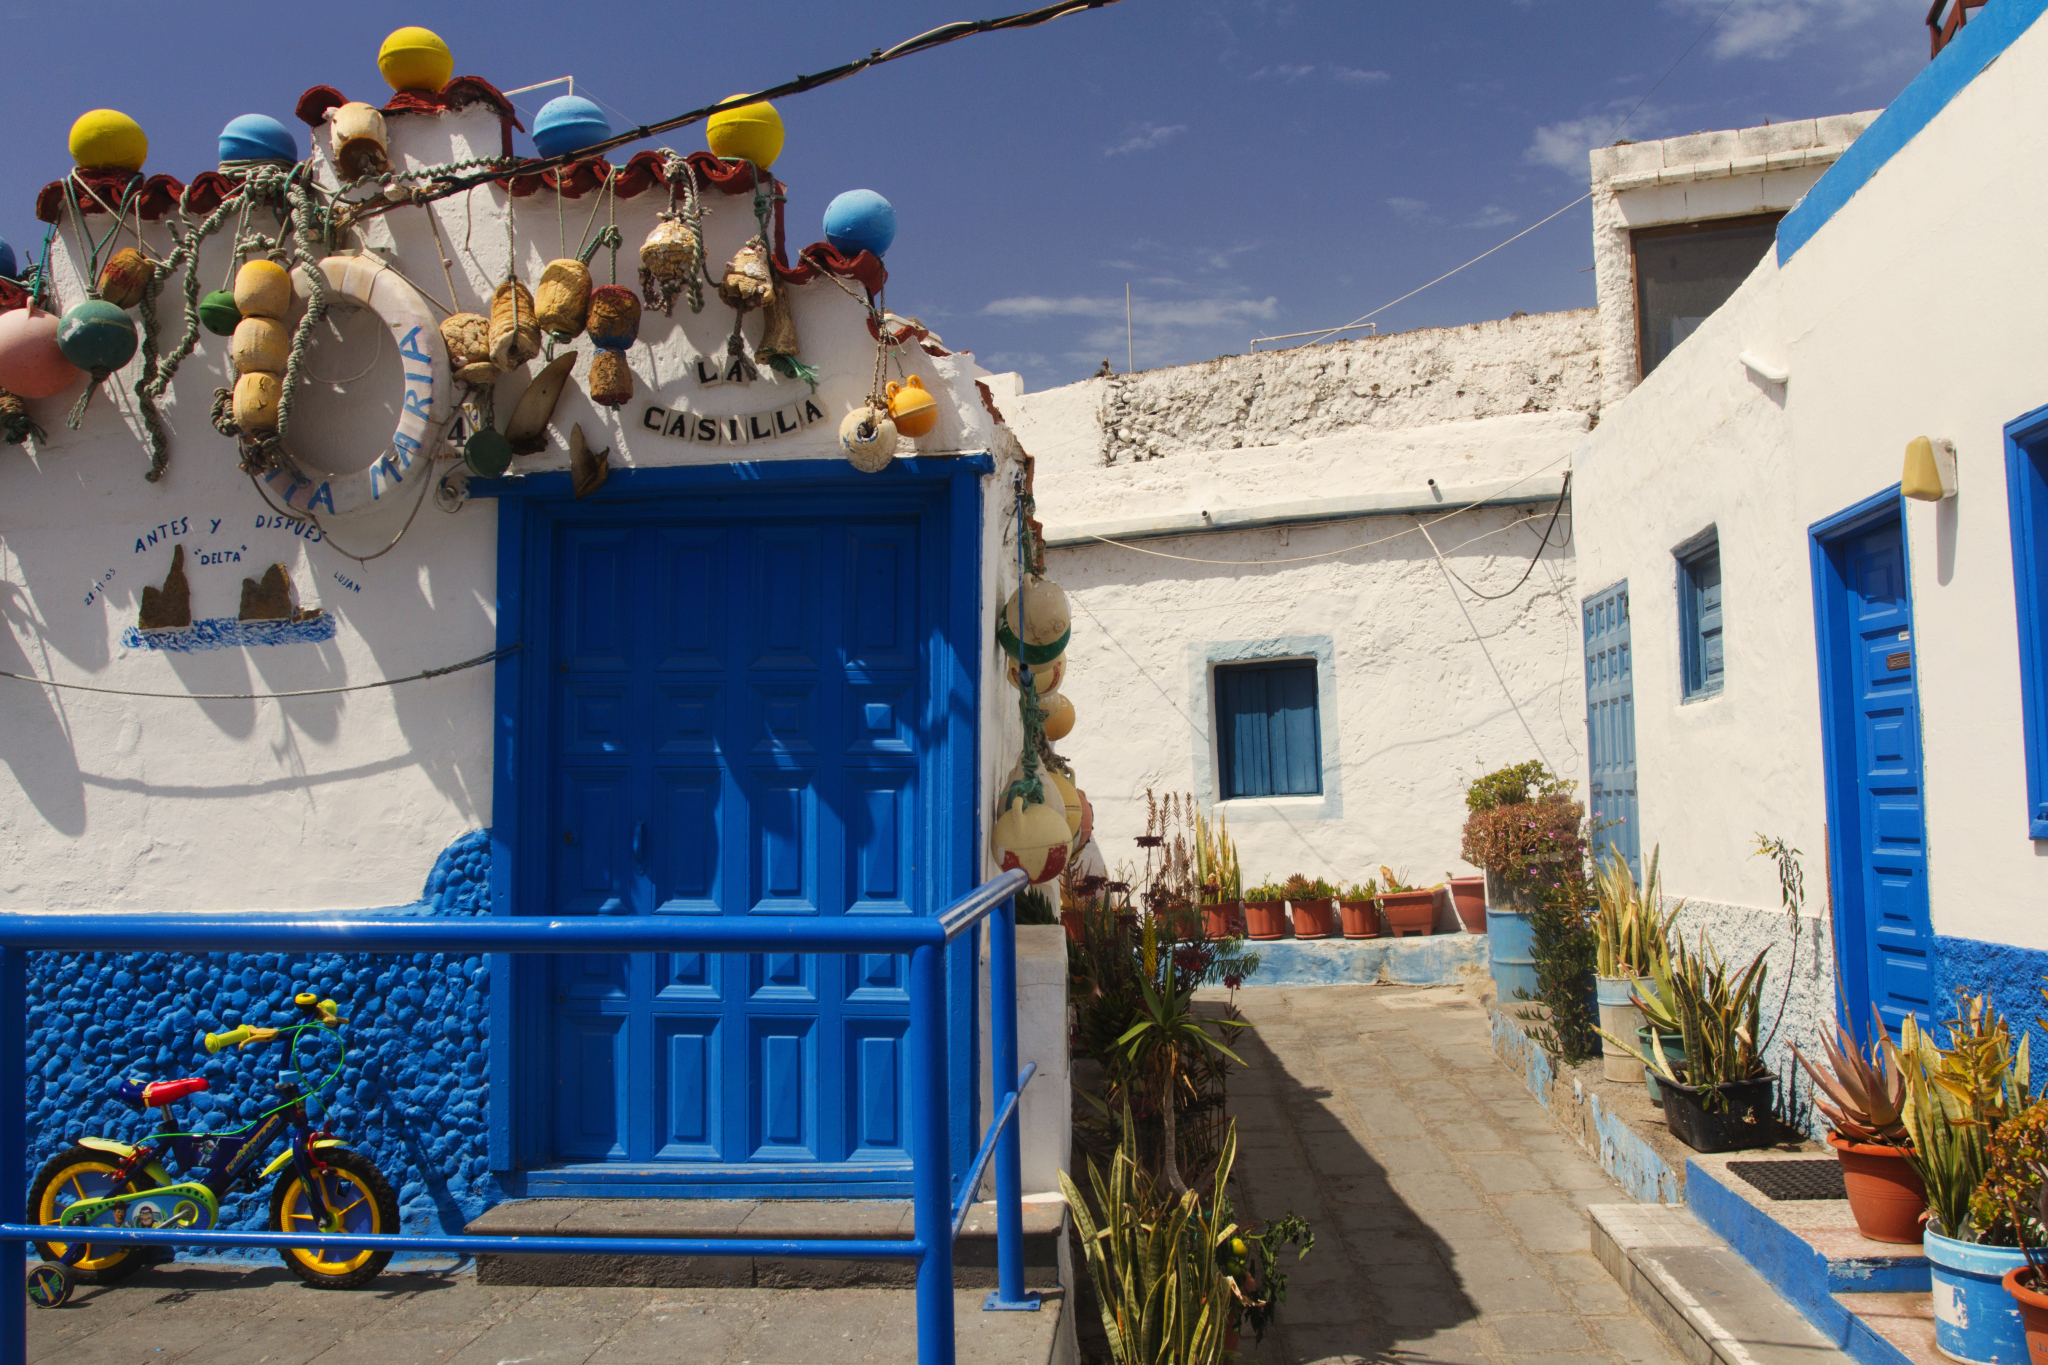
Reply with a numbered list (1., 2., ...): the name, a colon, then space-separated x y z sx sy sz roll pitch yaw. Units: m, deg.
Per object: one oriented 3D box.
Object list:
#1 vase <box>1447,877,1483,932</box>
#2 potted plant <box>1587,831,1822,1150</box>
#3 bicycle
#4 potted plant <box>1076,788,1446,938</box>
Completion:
1. vase: 3.707 1.878 16.692 0.371 0.293 0.378 1 1 23
2. potted plant: 3.731 1.619 10.939 0.996 1.503 1.717 -6 6 6
3. bicycle: -3.733 2.143 9.157 1.699 0.933 0.860 -7 6 -3
4. potted plant: 2.297 1.601 16.998 2.558 1.288 1.266 -5 6 16
